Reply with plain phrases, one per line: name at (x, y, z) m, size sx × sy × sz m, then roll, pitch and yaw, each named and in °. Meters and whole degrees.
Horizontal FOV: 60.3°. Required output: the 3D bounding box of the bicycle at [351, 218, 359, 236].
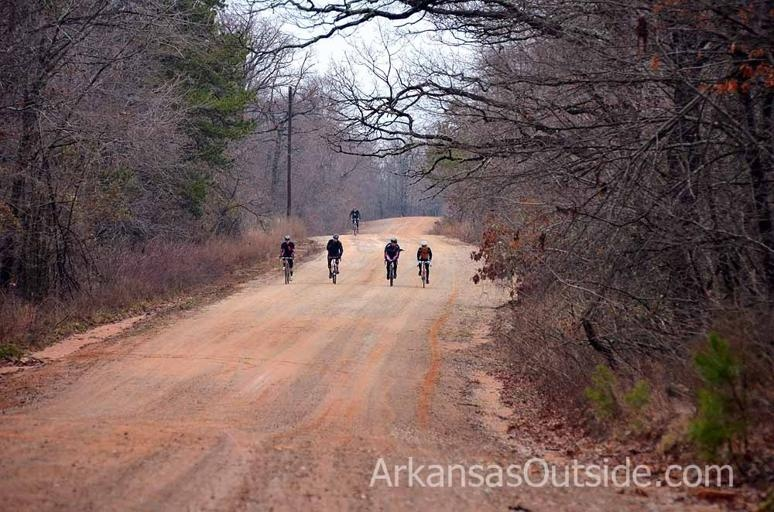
bicycle at (-2.126, -1.979, 44.742) m, size 0.262 × 0.963 × 0.629 m, roll -3°, pitch 14°, yaw -16°

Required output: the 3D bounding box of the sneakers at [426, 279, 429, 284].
sneakers at (1.535, 0.985, 25.117) m, size 0.121 × 0.128 × 0.126 m, roll 3°, pitch 4°, yaw -4°

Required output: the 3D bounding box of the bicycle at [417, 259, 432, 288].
bicycle at (1.398, 0.622, 24.838) m, size 0.400 × 1.014 × 0.960 m, roll 2°, pitch 14°, yaw 2°

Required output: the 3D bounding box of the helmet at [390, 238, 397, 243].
helmet at (0.278, -0.556, 24.700) m, size 0.176 × 0.218 × 0.238 m, roll 2°, pitch 8°, yaw 0°

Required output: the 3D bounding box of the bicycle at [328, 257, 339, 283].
bicycle at (-2.016, 0.451, 25.206) m, size 0.340 × 0.548 × 0.909 m, roll 2°, pitch 33°, yaw -7°
